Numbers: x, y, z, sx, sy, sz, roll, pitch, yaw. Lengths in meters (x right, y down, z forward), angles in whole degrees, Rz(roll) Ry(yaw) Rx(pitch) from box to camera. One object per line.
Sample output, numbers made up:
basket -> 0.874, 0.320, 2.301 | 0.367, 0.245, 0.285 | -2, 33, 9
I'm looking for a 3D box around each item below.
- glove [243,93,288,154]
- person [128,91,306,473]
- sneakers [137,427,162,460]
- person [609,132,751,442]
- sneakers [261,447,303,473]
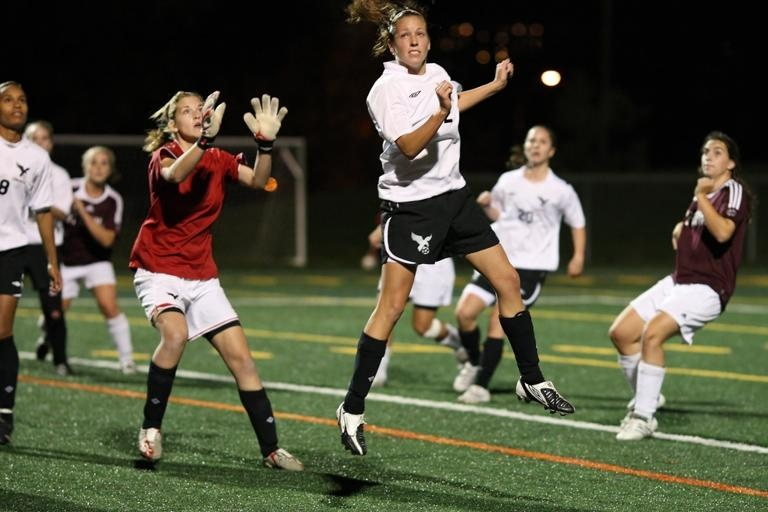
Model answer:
glove -> -0.910, -1.003, 5.830 | 0.294, 0.448, 0.545 | 3, 8, -10
person -> -1.367, 0.191, 5.870 | 1.148, 2.862, 0.709 | 3, 8, -5
sneakers -> -1.777, 1.457, 5.831 | 0.183, 0.258, 0.124 | -11, 9, -33
person -> 2.598, 0.268, 6.668 | 1.067, 2.695, 0.594 | 3, 8, -4
sneakers -> -0.768, 1.559, 5.834 | 0.277, 0.129, 0.151 | 5, 5, 19
